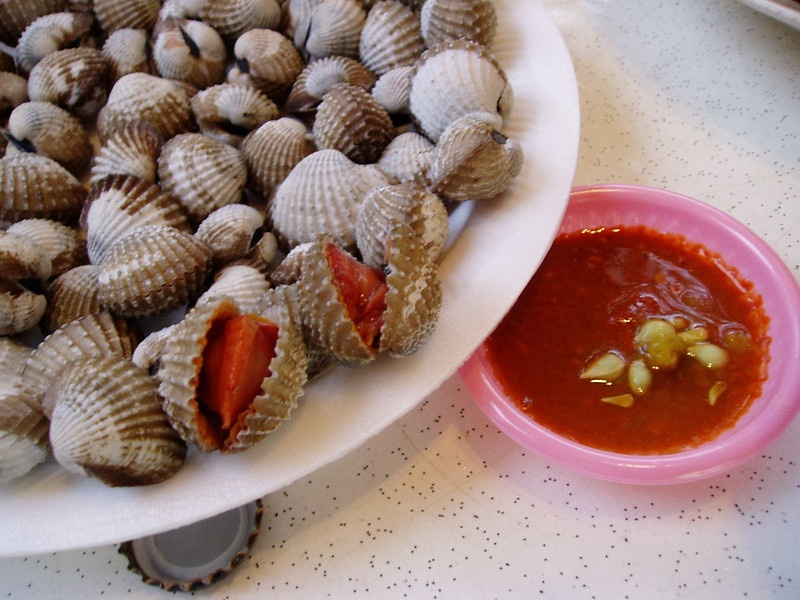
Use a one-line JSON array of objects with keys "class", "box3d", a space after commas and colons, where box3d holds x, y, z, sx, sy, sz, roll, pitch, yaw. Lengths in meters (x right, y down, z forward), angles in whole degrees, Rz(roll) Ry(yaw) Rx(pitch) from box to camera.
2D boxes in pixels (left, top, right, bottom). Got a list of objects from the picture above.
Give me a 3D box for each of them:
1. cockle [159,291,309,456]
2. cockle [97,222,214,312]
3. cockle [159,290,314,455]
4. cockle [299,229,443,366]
[{"class": "cockle", "box3d": [-0.162, 0.069, 0.752, 0.145, 0.065, 0.128, -20, 70, -10]}, {"class": "cockle", "box3d": [-0.262, -0.037, 0.836, 0.096, 0.039, 0.100, 37, 80, 3]}, {"class": "cockle", "box3d": [-0.164, 0.086, 0.729, 0.125, 0.069, 0.156, 0, 73, 0]}, {"class": "cockle", "box3d": [-0.030, -0.004, 0.778, 0.146, 0.084, 0.113, -8, 68, -5]}]
